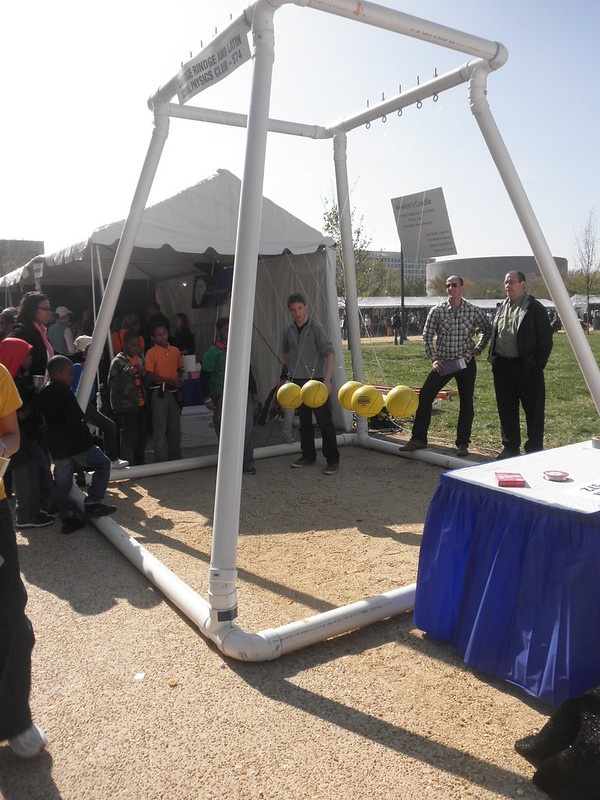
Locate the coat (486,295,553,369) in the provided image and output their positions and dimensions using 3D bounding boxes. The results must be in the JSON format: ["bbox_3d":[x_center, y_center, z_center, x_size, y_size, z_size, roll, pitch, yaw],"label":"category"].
[{"bbox_3d":[2.235,-0.651,5.817,0.308,0.717,0.619,-8,8,-39],"label":"coat"}]

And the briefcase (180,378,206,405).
[{"bbox_3d":[-1.534,-0.095,8.214,0.373,0.406,0.225,-3,8,-25],"label":"briefcase"}]

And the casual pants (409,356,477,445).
[{"bbox_3d":[1.707,-0.025,6.794,0.738,1.634,0.378,8,43,14],"label":"casual pants"}]

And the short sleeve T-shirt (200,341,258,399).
[{"bbox_3d":[-0.883,-0.324,6.463,0.283,0.617,0.600,-4,-3,37],"label":"short sleeve T-shirt"}]

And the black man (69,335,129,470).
[{"bbox_3d":[-2.166,0.048,6.170,0.729,1.268,0.454,0,2,-38],"label":"black man"}]

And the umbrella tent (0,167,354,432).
[{"bbox_3d":[-1.210,-0.912,6.771,2.284,2.152,3.956,2,2,-28],"label":"umbrella tent"}]

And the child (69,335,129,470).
[{"bbox_3d":[-2.164,0.046,6.179,0.732,1.273,0.450,1,2,-37],"label":"child"}]

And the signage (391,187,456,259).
[{"bbox_3d":[1.228,-1.673,5.781,0.509,0.673,0.822,-3,6,1],"label":"signage"}]

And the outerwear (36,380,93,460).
[{"bbox_3d":[-1.874,0.175,4.625,0.371,0.633,0.194,-5,6,-20],"label":"outerwear"}]

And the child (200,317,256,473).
[{"bbox_3d":[-0.754,-0.003,6.392,0.590,1.710,0.401,-5,7,-12],"label":"child"}]

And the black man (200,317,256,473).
[{"bbox_3d":[-0.762,0.008,6.416,0.598,1.708,0.339,-5,3,-14],"label":"black man"}]
